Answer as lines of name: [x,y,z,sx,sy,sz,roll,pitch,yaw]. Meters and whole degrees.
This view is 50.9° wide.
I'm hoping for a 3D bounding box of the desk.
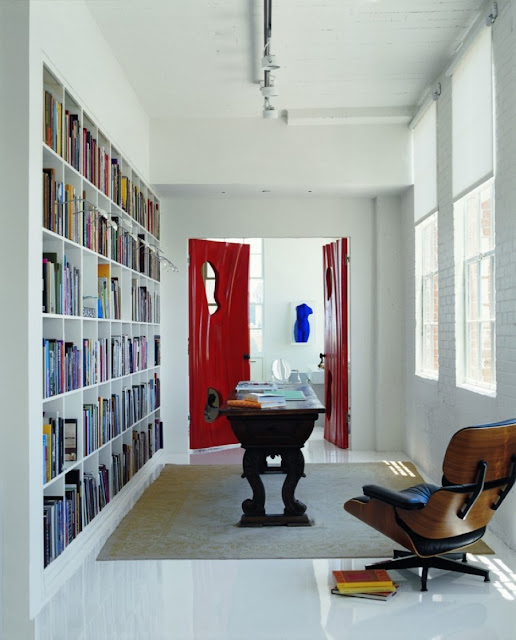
desk: [0.118,1.115,4.381,0.580,0.775,1.934,-1,-8,1]
